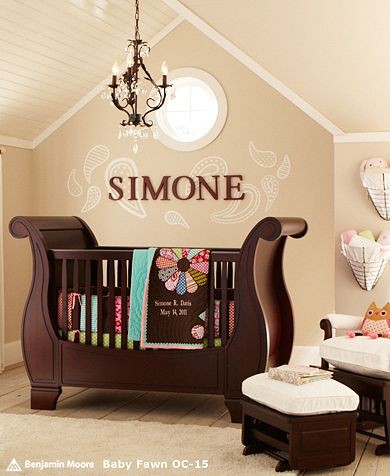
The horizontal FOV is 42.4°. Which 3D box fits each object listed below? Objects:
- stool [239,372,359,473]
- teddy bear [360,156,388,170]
[{"bbox_3d":[0.441,0.736,2.138,0.376,0.342,0.457,0,-1,-28],"label":"stool"},{"bbox_3d":[1.152,-0.473,3.230,0.169,0.088,0.101,-1,-1,19],"label":"teddy bear"}]
